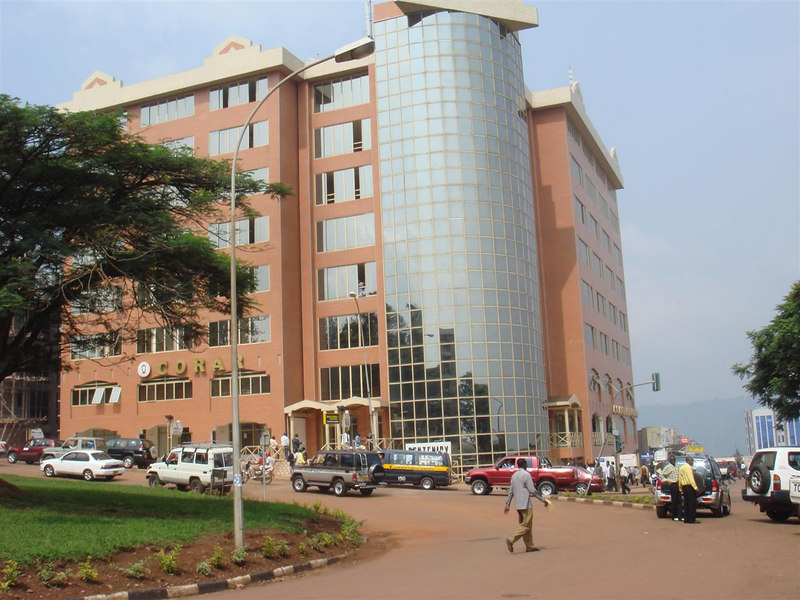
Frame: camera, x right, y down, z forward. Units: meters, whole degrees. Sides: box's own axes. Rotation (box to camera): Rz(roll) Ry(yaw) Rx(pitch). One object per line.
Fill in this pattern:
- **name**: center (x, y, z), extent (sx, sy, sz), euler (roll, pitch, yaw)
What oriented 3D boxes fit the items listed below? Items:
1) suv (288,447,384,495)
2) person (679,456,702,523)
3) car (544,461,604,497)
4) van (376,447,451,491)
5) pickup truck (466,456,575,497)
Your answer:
- **suv**: center (-3.102, 8.481, 39.079), extent (4.106, 1.782, 2.227), euler (-2, -8, 34)
- **person**: center (9.853, 6.482, 26.685), extent (0.581, 2.099, 0.948), euler (-7, -17, 19)
- **car**: center (8.912, 9.267, 40.345), extent (2.471, 1.606, 3.640), euler (-8, -17, 25)
- **van**: center (1.064, 9.425, 43.624), extent (3.409, 1.531, 1.992), euler (1, -7, 15)
- **pickup truck**: center (6.473, 9.264, 41.285), extent (5.900, 2.017, 2.574), euler (-1, -12, 12)
